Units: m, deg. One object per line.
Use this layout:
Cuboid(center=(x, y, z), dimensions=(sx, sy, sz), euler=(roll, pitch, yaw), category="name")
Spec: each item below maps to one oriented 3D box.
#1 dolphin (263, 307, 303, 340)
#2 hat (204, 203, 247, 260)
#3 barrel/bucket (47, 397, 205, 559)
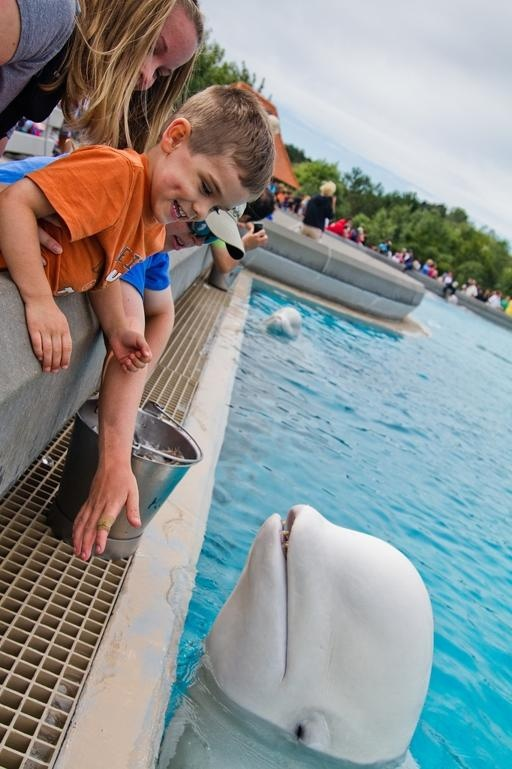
Cuboid(center=(0.301, -0.649, 6.479), dimensions=(0.245, 0.265, 0.433), euler=(29, 7, 13), category="dolphin")
Cuboid(center=(-0.073, -0.371, 1.527), dimensions=(0.090, 0.129, 0.222), euler=(14, 20, 1), category="hat")
Cuboid(center=(-0.374, 0.273, 1.684), dimensions=(0.350, 0.332, 0.330), euler=(23, 5, -2), category="barrel/bucket")
